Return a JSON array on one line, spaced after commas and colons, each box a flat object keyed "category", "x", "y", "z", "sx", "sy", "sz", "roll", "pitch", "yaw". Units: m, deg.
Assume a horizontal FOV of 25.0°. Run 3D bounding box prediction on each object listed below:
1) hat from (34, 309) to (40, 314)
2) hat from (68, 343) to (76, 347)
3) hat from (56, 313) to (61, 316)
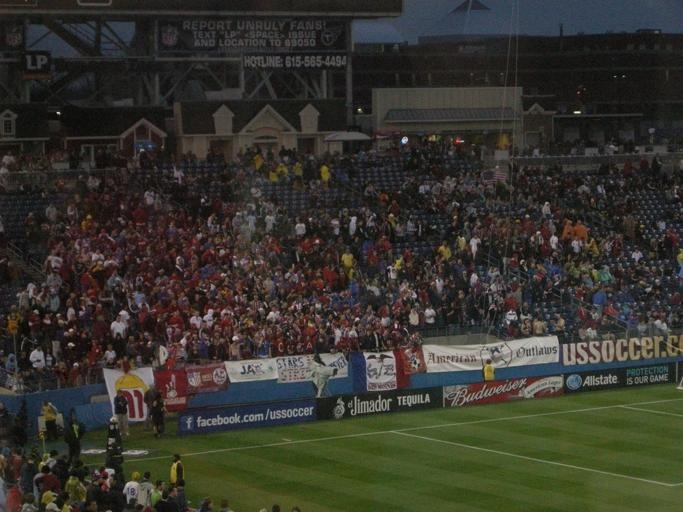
[{"category": "hat", "x": -16.246, "y": 2.975, "z": 82.237, "sx": 0.168, "sy": 0.185, "sz": 0.228, "roll": 3, "pitch": -3, "yaw": -10}, {"category": "hat", "x": -14.094, "y": 4.632, "z": 80.492, "sx": 0.288, "sy": 0.281, "sz": 0.566, "roll": -1, "pitch": -1, "yaw": 5}, {"category": "hat", "x": -14.938, "y": 3.100, "z": 81.566, "sx": 0.152, "sy": 0.135, "sz": 0.183, "roll": 0, "pitch": -6, "yaw": 6}]
